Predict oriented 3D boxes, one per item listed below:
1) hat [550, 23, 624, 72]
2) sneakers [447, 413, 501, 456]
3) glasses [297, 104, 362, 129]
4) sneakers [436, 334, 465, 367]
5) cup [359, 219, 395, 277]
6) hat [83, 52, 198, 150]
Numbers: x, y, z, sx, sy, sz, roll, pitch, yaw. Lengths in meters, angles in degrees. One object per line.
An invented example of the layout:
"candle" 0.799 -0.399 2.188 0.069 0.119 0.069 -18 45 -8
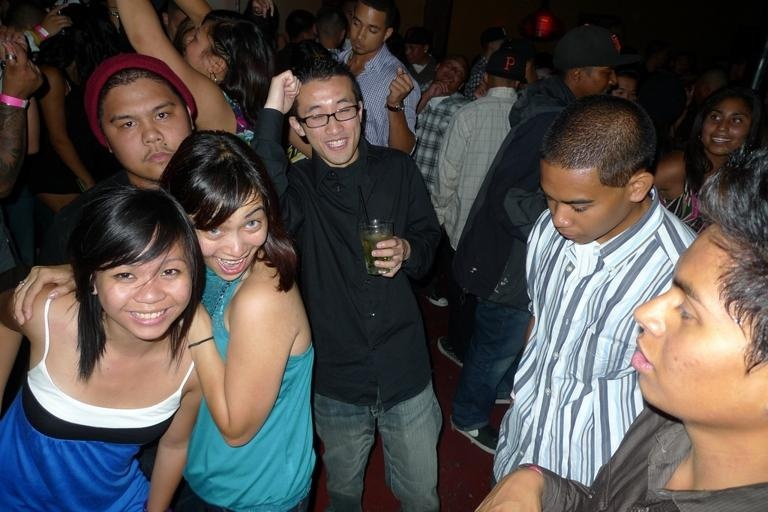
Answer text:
"hat" 1.510 -1.514 4.130 0.469 0.313 0.624 -15 22 -34
"sneakers" 0.641 1.323 4.354 0.420 0.173 0.159 26 34 26
"glasses" -0.288 -0.749 3.057 0.315 0.126 0.110 -3 18 -15
"sneakers" 0.567 0.840 5.080 0.108 0.134 0.314 -35 64 -6
"cup" -0.041 -0.042 2.939 0.158 0.279 0.134 0 17 -2
"hat" -1.262 -0.810 2.974 0.534 0.455 0.228 -8 19 -26
